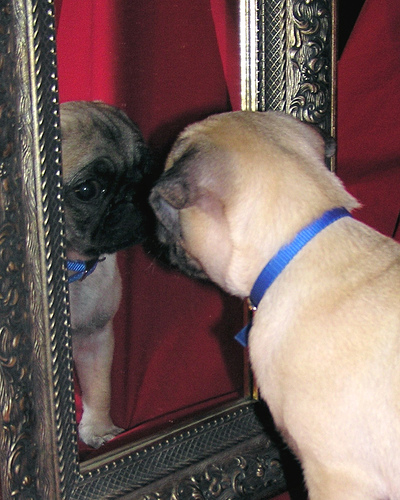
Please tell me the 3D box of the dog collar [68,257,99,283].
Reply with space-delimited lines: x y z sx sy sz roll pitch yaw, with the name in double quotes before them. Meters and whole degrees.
"dog collar" -0.223 0.039 1.450 0.047 0.019 0.048 10 -51 -18
